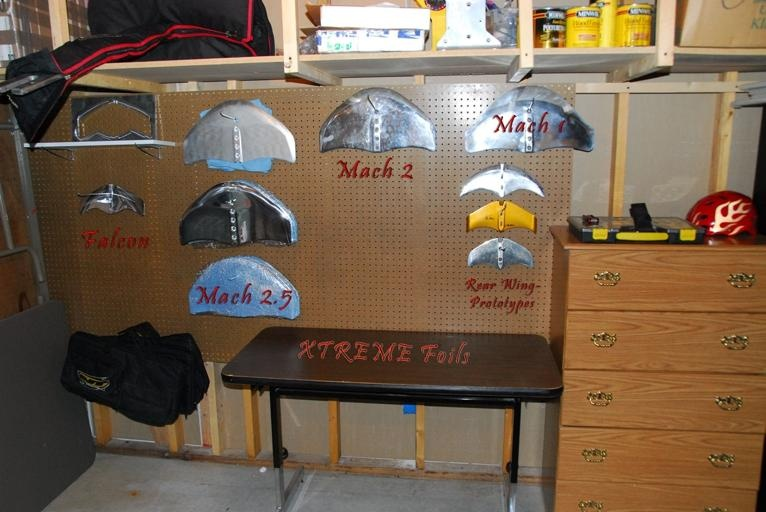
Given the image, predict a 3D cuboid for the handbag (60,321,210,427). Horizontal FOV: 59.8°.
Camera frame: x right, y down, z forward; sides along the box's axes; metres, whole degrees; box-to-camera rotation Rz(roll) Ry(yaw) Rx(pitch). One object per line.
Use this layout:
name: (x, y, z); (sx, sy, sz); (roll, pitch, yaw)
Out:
handbag: (-1.431, 0.758, 3.974); (0.810, 0.373, 0.532); (16, 57, 2)

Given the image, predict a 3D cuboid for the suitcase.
suitcase: (1.325, -0.186, 3.500); (0.639, 0.189, 0.338); (1, 12, 3)

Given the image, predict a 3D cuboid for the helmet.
helmet: (1.789, -0.205, 3.554); (0.382, 0.245, 0.250); (-8, 5, -1)
